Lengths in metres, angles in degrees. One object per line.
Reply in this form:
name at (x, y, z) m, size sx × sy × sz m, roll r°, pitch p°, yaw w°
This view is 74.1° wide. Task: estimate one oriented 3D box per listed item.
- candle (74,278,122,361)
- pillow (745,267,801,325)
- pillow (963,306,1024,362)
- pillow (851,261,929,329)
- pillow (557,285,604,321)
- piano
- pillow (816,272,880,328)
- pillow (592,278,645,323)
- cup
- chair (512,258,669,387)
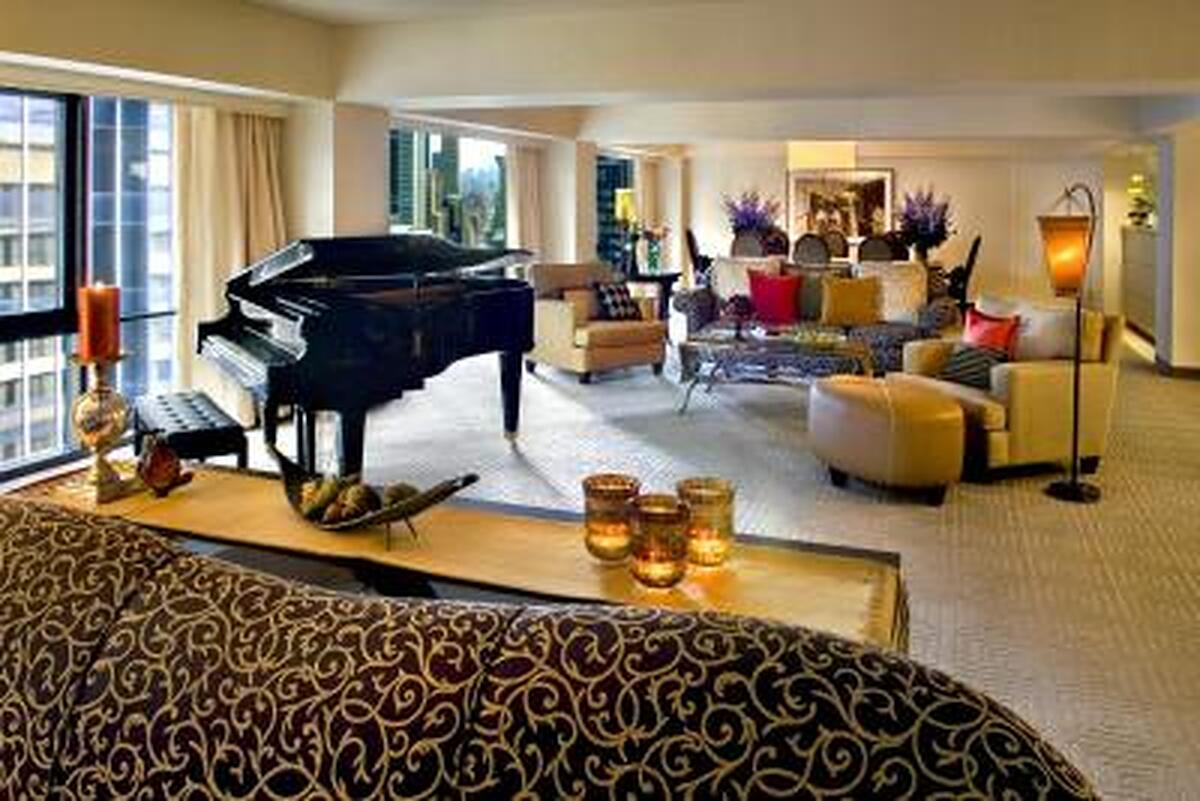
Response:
candle at (-1.484, -0.232, 2.350) m, size 0.102 × 0.227 × 0.159 m, roll -5°, pitch 12°, yaw -32°
pillow at (1.652, -0.984, 7.602) m, size 0.642 × 0.580 × 0.217 m, roll 3°, pitch -5°, yaw 5°
pillow at (2.560, -0.417, 5.138) m, size 0.386 × 0.380 × 0.141 m, roll 4°, pitch -32°, yaw 45°
pillow at (2.813, -1.008, 7.451) m, size 0.629 × 0.582 × 0.272 m, roll 2°, pitch -5°, yaw 24°
pillow at (-0.154, -0.925, 7.635) m, size 0.350 × 0.322 × 0.102 m, roll -7°, pitch -16°, yaw -41°
piano at (-1.316, -0.360, 4.906) m, size 1.877 × 1.297 × 1.506 m, roll -4°, pitch 7°, yaw -42°
pillow at (2.362, -0.937, 7.491) m, size 0.601 × 0.516 × 0.201 m, roll 1°, pitch -4°, yaw 6°
pillow at (0.158, -0.977, 7.661) m, size 0.463 × 0.401 × 0.140 m, roll -5°, pitch -21°, yaw -45°
cup at (0.122, 0.286, 1.743) m, size 0.227 × 0.146 × 0.298 m, roll -6°, pitch 9°, yaw -41°
chair at (-0.133, -0.769, 7.905) m, size 1.248 × 1.131 × 1.277 m, roll -6°, pitch 8°, yaw -41°
